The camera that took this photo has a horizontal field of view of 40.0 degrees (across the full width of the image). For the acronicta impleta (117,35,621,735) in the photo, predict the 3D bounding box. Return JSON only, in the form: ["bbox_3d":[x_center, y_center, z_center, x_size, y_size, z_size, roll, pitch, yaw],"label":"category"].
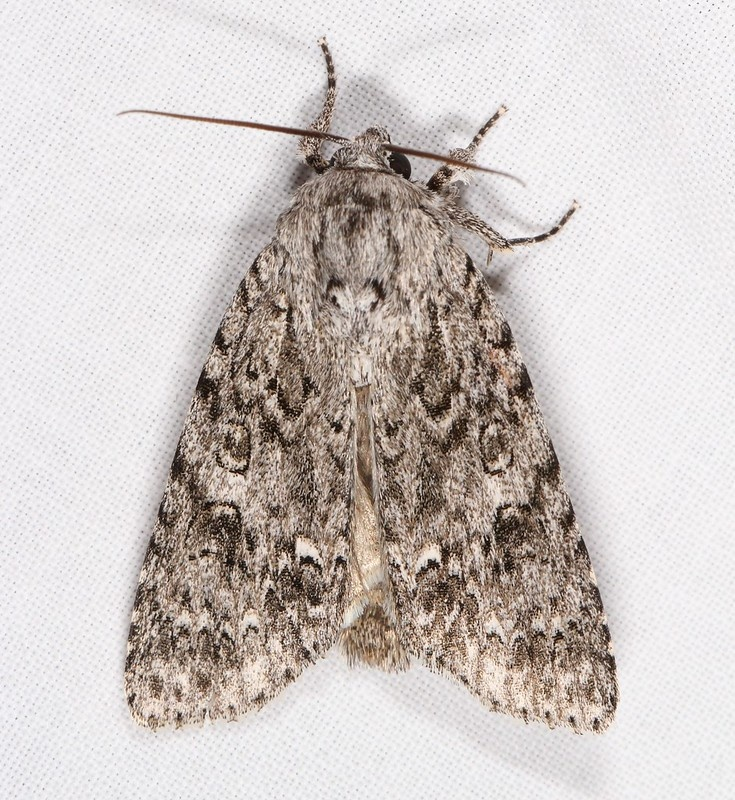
[{"bbox_3d":[0.013,0.181,2.595,1.168,1.004,0.961,9,47,-6],"label":"acronicta impleta"}]
